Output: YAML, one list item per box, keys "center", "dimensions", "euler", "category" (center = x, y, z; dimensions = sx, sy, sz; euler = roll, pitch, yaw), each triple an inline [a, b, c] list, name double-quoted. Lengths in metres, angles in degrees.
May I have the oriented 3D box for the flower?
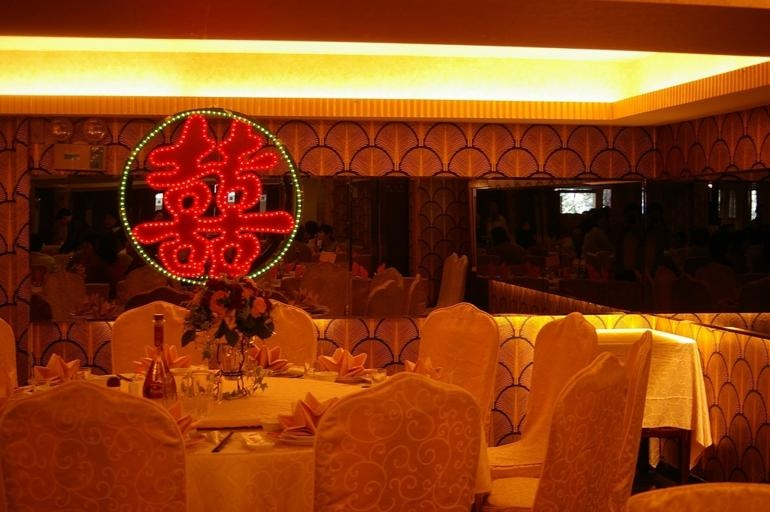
- center: [-0.884, 0.310, 4.228]
  dimensions: [0.372, 0.287, 0.394]
  euler: [-2, -4, 30]
  category: "flower"

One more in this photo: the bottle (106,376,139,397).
- center: [-1.409, 0.696, 4.027]
  dimensions: [0.141, 0.075, 0.194]
  euler: [9, 1, -3]
  category: "bottle"

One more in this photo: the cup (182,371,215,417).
- center: [-1.017, 0.742, 4.159]
  dimensions: [0.195, 0.297, 0.214]
  euler: [0, -1, 0]
  category: "cup"

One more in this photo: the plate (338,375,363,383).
- center: [-0.218, 0.741, 4.556]
  dimensions: [0.160, 0.034, 0.077]
  euler: [1, 0, -3]
  category: "plate"

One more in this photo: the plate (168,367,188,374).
- center: [-1.250, 0.685, 4.509]
  dimensions: [0.076, 0.029, 0.082]
  euler: [2, -1, 0]
  category: "plate"

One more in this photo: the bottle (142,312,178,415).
- center: [-1.207, 0.556, 4.069]
  dimensions: [0.179, 0.496, 0.373]
  euler: [1, 1, -27]
  category: "bottle"

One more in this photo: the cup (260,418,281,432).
- center: [-0.593, 0.877, 3.934]
  dimensions: [0.093, 0.047, 0.135]
  euler: [1, 0, -30]
  category: "cup"

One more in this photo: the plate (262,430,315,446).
- center: [-0.498, 0.909, 3.790]
  dimensions: [0.280, 0.067, 0.079]
  euler: [1, 0, 26]
  category: "plate"
